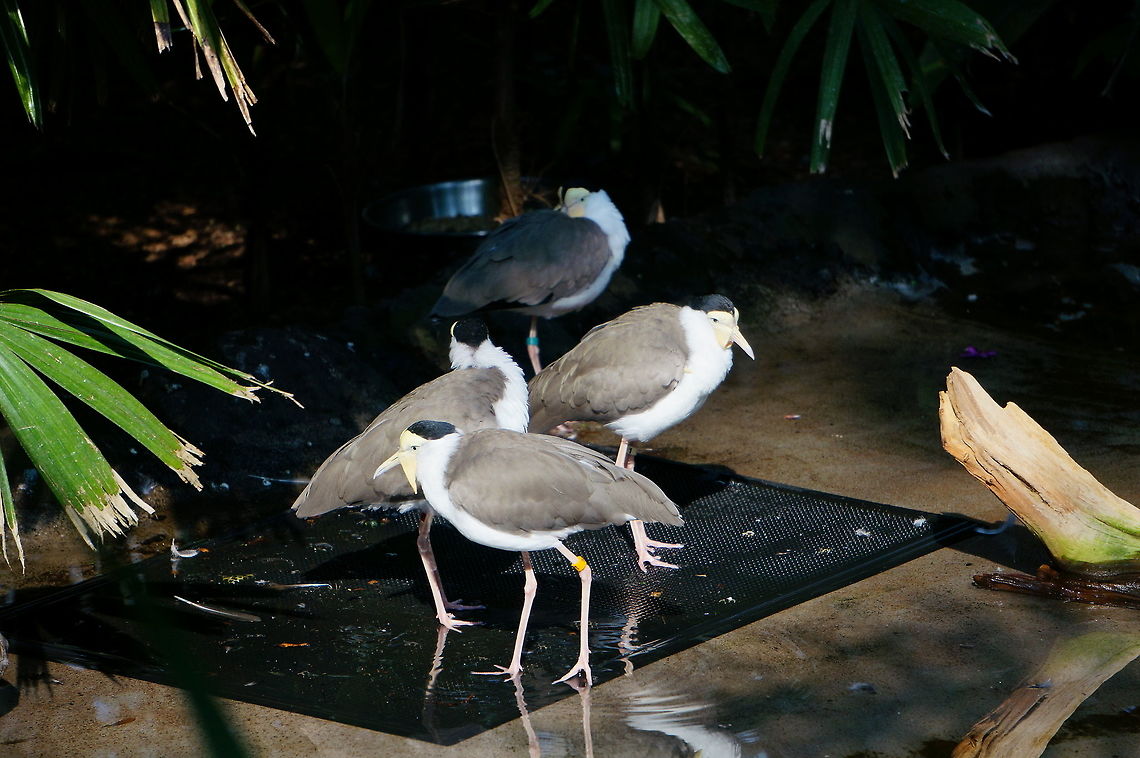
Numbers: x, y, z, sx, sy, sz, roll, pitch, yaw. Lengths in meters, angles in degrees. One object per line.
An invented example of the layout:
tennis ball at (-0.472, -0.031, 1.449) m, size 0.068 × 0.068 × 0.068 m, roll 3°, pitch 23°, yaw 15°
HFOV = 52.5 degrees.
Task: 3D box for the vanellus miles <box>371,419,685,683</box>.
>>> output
vanellus miles at (-0.170, 0.735, 6.238) m, size 1.162 × 1.223 × 0.826 m, roll 13°, pitch 39°, yaw 30°
